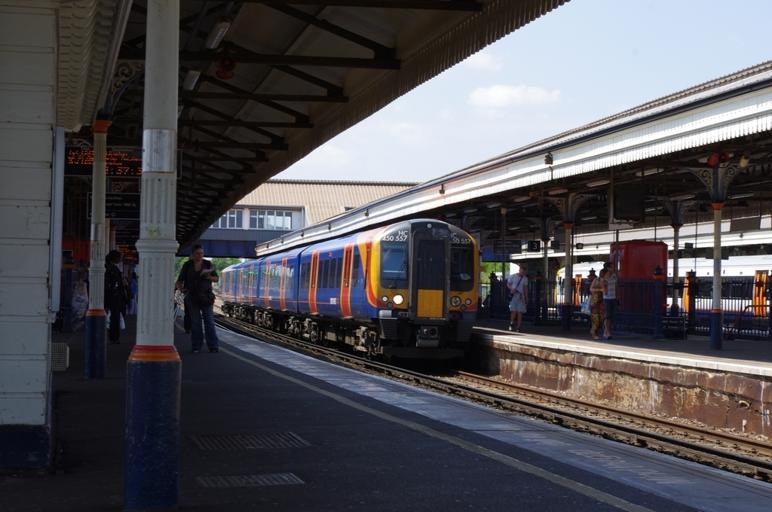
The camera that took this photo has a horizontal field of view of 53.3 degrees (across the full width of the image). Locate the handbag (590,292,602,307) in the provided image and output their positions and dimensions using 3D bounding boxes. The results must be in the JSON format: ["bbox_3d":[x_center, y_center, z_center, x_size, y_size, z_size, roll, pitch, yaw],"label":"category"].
[{"bbox_3d":[5.154,1.172,20.083,0.282,0.376,0.266,0,-3,10],"label":"handbag"}]

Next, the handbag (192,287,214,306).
[{"bbox_3d":[-3.925,0.893,16.592,0.302,0.451,0.408,2,0,-13],"label":"handbag"}]

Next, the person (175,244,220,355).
[{"bbox_3d":[-4.048,0.939,16.588,0.877,2.286,0.792,-2,-3,-8],"label":"person"}]

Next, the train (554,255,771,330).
[{"bbox_3d":[7.481,1.476,22.412,3.596,1.639,5.774,1,-5,-15],"label":"train"}]

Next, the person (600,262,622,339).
[{"bbox_3d":[5.392,1.181,19.850,0.312,1.981,0.747,0,-3,15],"label":"person"}]
